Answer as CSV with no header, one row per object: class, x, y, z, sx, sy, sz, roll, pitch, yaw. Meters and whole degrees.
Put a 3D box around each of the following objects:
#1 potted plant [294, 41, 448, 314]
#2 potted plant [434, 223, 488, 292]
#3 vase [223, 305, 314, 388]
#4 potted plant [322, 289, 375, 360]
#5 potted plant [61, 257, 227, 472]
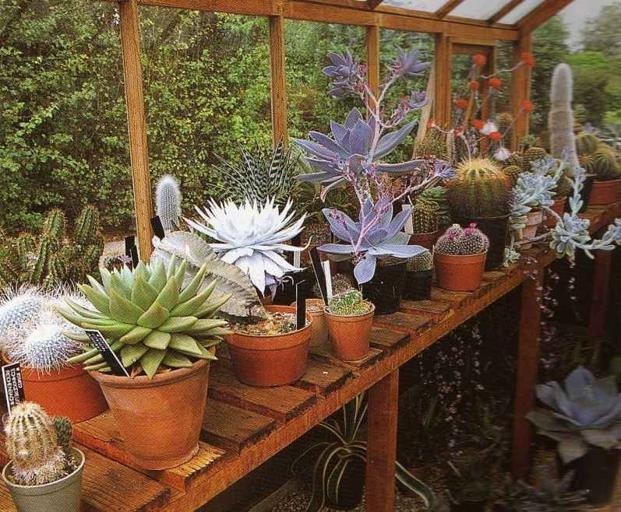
potted plant,0.241,-0.380,2.125,0.594,0.807,1.306,2,15,10
potted plant,0.574,0.003,2.076,0.294,0.260,0.271,-1,7,-3
vase,-0.104,0.228,1.416,0.230,0.093,0.200,-1,5,-3
potted plant,0.119,0.193,1.543,0.152,0.198,0.111,-5,17,-13
potted plant,-0.344,0.219,1.178,0.338,0.439,0.253,-8,18,-23
